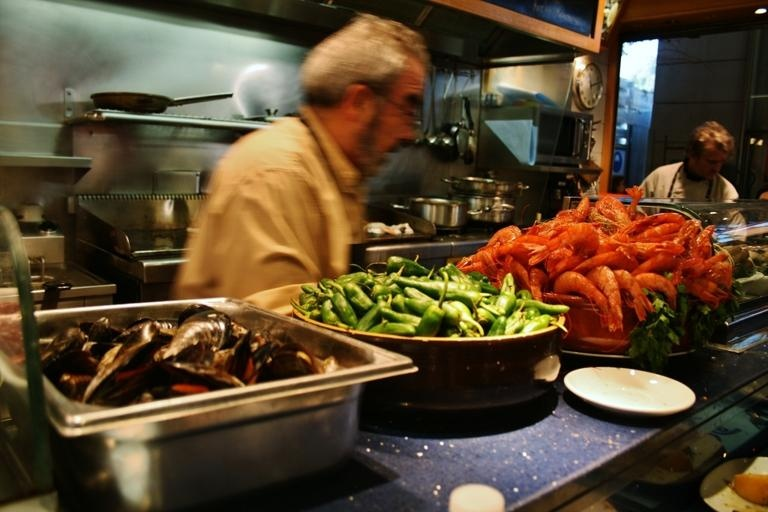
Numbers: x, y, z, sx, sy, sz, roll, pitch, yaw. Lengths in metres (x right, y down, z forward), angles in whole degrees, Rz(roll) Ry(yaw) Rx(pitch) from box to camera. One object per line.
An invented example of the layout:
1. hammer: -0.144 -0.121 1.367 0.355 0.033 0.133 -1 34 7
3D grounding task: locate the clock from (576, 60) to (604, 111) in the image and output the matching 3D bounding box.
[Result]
1. clock: 2.232 -1.870 5.858 0.463 0.436 0.053 -29 25 -35

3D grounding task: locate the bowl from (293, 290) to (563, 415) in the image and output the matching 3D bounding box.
1. bowl: 0.155 0.240 1.591 0.605 0.229 0.592 1 5 0

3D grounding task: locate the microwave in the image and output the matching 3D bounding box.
1. microwave: 1.567 -1.227 5.505 0.880 0.643 0.726 -7 15 -33

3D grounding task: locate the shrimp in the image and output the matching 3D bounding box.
1. shrimp: 0.748 0.048 1.806 0.708 0.212 0.511 -3 23 -3

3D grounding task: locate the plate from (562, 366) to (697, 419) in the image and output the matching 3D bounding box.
1. plate: 0.682 0.380 1.506 0.320 0.056 0.254 8 14 30

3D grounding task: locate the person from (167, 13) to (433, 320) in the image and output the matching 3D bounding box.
1. person: -0.320 -0.186 1.790 0.701 1.036 0.521 -10 19 -43
